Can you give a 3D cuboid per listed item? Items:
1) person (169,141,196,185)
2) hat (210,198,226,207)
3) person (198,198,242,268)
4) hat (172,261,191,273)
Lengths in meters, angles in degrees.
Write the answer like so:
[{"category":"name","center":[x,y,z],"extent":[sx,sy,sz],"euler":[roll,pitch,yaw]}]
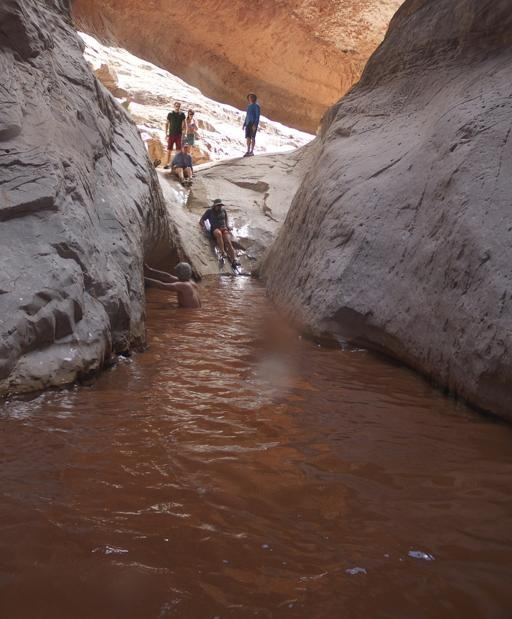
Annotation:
[{"category":"person","center":[-1.500,-3.072,11.651],"extent":[0.453,0.764,0.883],"euler":[0,24,-19]},{"category":"hat","center":[-0.658,-1.837,9.631],"extent":[0.293,0.119,0.361],"euler":[-4,5,-14]},{"category":"person","center":[-0.626,-1.325,9.758],"extent":[0.886,1.195,0.544],"euler":[8,12,19]},{"category":"hat","center":[-0.735,-0.424,5.668],"extent":[0.176,0.136,0.138],"euler":[-1,13,-31]}]
